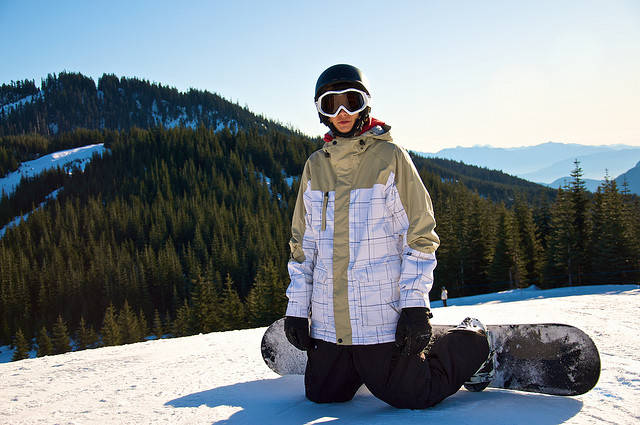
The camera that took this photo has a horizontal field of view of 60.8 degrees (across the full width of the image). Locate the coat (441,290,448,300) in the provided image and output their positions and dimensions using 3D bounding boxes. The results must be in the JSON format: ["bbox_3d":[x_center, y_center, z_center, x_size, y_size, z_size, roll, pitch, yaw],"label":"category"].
[{"bbox_3d":[14.130,8.993,61.749,0.560,1.096,1.438,-3,-4,6],"label":"coat"}]
